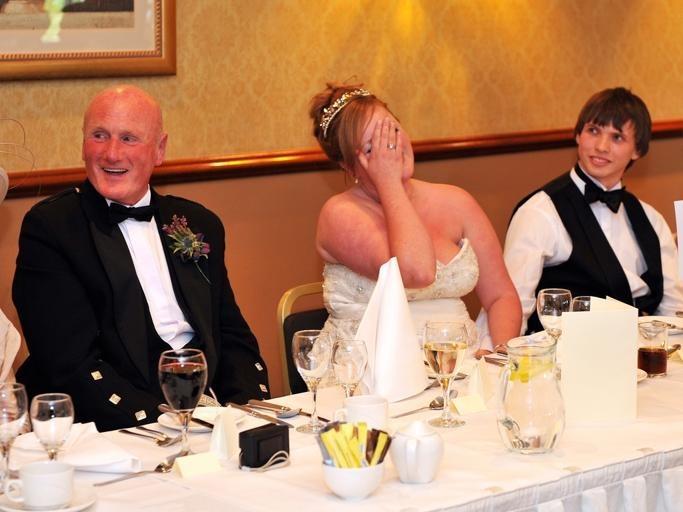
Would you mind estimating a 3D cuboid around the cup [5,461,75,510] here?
[{"bbox_3d":[-0.537,0.406,1.091,0.109,0.067,0.073,0,8,-7],"label":"cup"}]

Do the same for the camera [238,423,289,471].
[{"bbox_3d":[-0.165,0.406,1.309,0.109,0.081,0.056,-1,6,-45],"label":"camera"}]

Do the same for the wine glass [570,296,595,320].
[{"bbox_3d":[0.703,0.149,1.750,0.070,0.070,0.072,0,-3,-2],"label":"wine glass"}]

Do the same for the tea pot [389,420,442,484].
[{"bbox_3d":[0.152,0.380,1.221,0.086,0.100,0.116,1,10,8],"label":"tea pot"}]

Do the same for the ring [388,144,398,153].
[{"bbox_3d":[0.210,-0.440,2.468,0.039,0.030,0.012,-4,10,-29],"label":"ring"}]

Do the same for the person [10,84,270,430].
[{"bbox_3d":[-0.760,-0.053,2.782,1.003,1.399,1.211,-1,1,-43],"label":"person"}]
